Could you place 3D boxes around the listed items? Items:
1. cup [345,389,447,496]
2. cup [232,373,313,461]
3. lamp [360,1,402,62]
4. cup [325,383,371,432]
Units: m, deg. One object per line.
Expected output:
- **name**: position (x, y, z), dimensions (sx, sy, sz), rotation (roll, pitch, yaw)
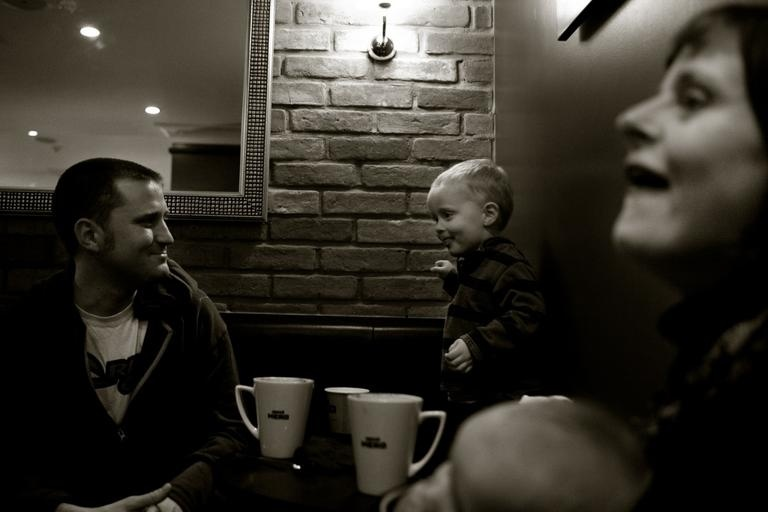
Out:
- **cup**: position (-0.003, 0.296, 1.053), dimensions (0.161, 0.143, 0.113), rotation (3, -14, -13)
- **cup**: position (-0.196, 0.284, 1.184), dimensions (0.154, 0.135, 0.103), rotation (1, -2, 16)
- **lamp**: position (-0.005, -0.693, 2.124), dimensions (0.070, 0.172, 0.064), rotation (-4, 9, -43)
- **cup**: position (-0.080, 0.282, 1.313), dimensions (0.105, 0.079, 0.101), rotation (1, -1, 0)
